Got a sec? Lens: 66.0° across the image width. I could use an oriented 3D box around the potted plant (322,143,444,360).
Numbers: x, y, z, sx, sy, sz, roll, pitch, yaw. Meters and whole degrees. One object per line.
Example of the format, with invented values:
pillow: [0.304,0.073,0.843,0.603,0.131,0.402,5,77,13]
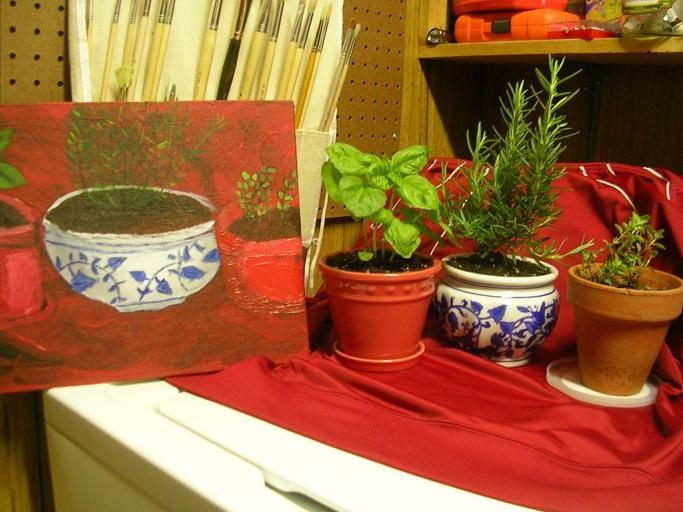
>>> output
potted plant: [0.085,-0.016,1.000,0.219,0.384,0.295,11,21,21]
